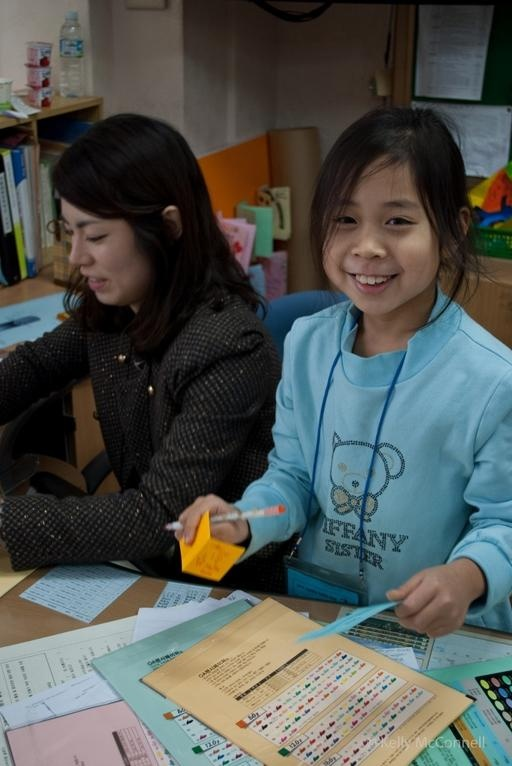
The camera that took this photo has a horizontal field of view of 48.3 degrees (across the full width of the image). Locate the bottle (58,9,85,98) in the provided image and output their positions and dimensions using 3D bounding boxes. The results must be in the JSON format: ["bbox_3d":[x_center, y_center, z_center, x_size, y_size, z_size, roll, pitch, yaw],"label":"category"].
[{"bbox_3d":[-0.715,-1.264,2.233,0.102,0.304,0.231,-4,8,-17],"label":"bottle"}]
